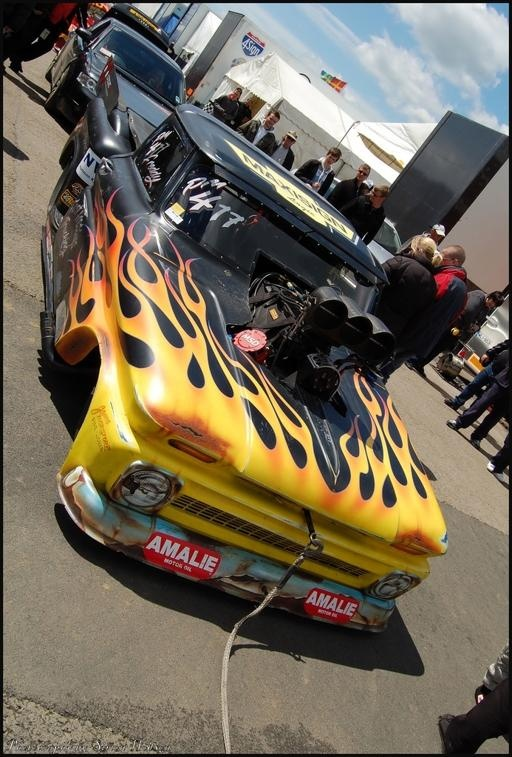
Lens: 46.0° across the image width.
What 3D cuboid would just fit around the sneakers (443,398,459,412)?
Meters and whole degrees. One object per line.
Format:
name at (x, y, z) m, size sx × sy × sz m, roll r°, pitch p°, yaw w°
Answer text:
sneakers at (2.761, 0.367, 8.505) m, size 0.092 × 0.096 × 0.229 m, roll 18°, pitch 20°, yaw -31°

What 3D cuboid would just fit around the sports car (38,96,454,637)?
sports car at (-0.316, -0.422, 3.486) m, size 1.972 × 1.415 × 3.216 m, roll 23°, pitch 29°, yaw -37°

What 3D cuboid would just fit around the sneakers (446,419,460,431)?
sneakers at (2.492, 0.587, 7.602) m, size 0.092 × 0.102 × 0.247 m, roll 32°, pitch 8°, yaw 5°

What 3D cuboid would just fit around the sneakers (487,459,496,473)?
sneakers at (2.707, 1.024, 6.918) m, size 0.076 × 0.042 × 0.129 m, roll 25°, pitch 7°, yaw 4°

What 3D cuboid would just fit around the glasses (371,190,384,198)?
glasses at (1.297, -1.965, 6.432) m, size 0.097 × 0.097 × 0.079 m, roll 41°, pitch 4°, yaw 19°
